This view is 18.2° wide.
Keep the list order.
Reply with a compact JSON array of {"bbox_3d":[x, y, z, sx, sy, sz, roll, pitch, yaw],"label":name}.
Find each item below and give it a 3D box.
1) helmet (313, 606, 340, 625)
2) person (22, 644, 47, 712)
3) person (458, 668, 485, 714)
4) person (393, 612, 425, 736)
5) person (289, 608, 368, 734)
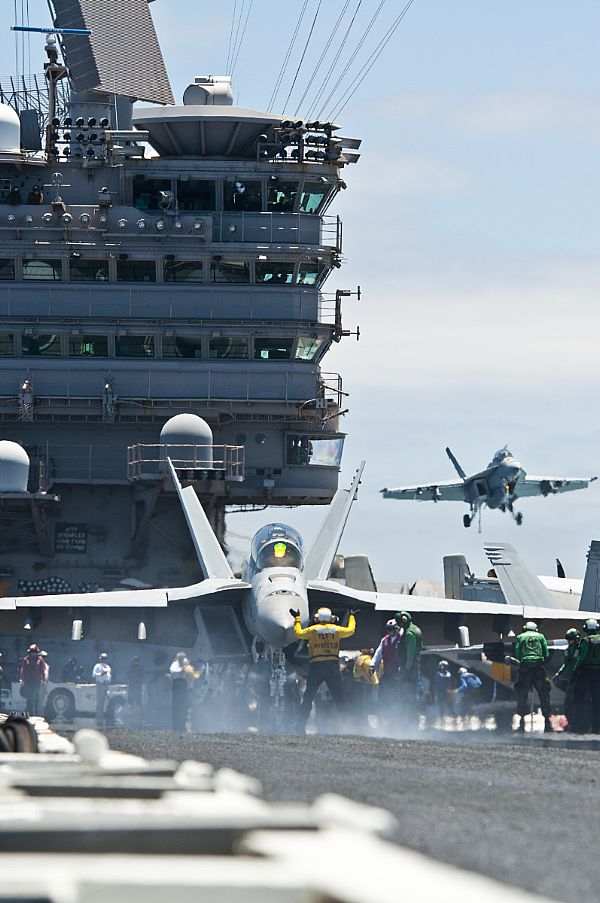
[{"bbox_3d":[0.400,2.393,27.378,0.274,0.317,0.353,8,49,-5],"label":"helmet"},{"bbox_3d":[-4.717,4.079,33.526,0.432,1.448,1.816,2,5,-7],"label":"person"},{"bbox_3d":[2.828,4.107,31.707,0.363,0.599,0.743,4,5,15],"label":"person"},{"bbox_3d":[1.646,3.283,28.584,0.378,1.656,0.596,4,13,8],"label":"person"},{"bbox_3d":[0.323,3.213,27.359,0.863,1.834,1.179,3,5,1],"label":"person"}]
